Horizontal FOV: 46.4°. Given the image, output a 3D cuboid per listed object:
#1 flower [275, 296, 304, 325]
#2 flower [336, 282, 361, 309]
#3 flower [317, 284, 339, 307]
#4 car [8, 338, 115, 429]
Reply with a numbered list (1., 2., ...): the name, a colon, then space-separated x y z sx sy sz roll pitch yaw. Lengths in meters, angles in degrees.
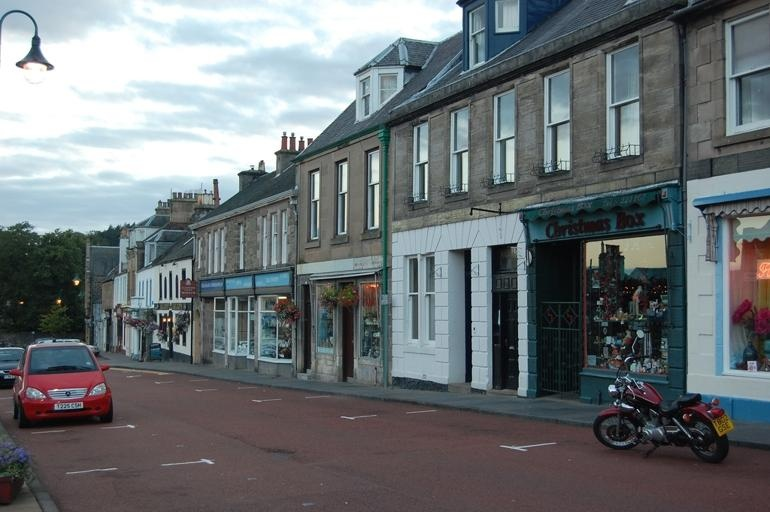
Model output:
1. flower: -3.972 2.177 36.414 0.796 1.046 1.050 2 -7 -36
2. flower: -1.335 1.415 32.629 0.828 1.002 0.963 0 -3 5
3. flower: -2.118 1.415 33.581 0.733 0.885 0.809 -2 -8 6
4. car: -8.438 3.255 23.103 2.759 2.143 1.899 -5 -6 33
